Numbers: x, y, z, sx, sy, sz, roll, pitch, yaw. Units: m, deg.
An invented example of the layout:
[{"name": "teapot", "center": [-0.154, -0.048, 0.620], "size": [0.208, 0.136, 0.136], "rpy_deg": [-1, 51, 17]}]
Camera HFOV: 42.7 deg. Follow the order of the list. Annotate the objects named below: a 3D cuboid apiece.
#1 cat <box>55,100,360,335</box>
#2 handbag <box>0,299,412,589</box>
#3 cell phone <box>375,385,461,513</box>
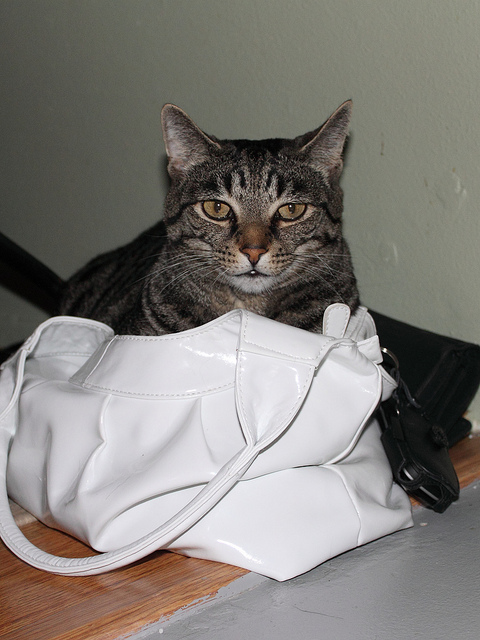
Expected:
[{"name": "cat", "center": [-0.030, -0.156, 1.122], "size": [0.448, 0.428, 0.578], "rpy_deg": [-1, 25, -6]}, {"name": "handbag", "center": [-0.040, 0.148, 0.657], "size": [0.420, 0.140, 0.293], "rpy_deg": [-4, 26, -6]}, {"name": "cell phone", "center": [0.189, 0.151, 0.769], "size": [0.117, 0.053, 0.145], "rpy_deg": [20, 37, -41]}]
